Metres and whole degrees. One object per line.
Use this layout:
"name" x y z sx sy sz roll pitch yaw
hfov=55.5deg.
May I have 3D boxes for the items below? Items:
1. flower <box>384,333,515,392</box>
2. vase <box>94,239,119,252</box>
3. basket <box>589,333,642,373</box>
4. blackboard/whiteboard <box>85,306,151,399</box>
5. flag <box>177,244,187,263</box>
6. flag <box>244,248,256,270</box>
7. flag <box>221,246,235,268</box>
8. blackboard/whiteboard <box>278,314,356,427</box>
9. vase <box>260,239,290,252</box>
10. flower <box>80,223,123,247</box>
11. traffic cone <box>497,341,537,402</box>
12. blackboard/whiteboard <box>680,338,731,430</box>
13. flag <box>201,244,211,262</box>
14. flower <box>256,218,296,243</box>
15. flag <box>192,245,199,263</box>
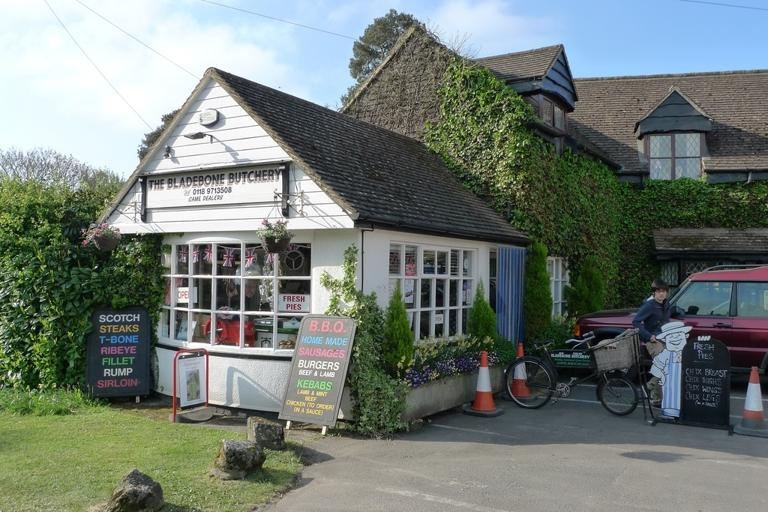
"flower" 1.512 2.187 15.815 2.783 0.778 0.925 -4 0 -16
"vase" -6.037 -0.257 15.807 0.330 0.266 0.338 -1 2 16
"basket" 4.769 1.995 15.090 0.885 0.856 0.764 0 -2 20
"blackboard/whiteboard" -5.805 2.081 15.907 1.284 1.946 0.116 1 -6 -15
"flag" -4.459 -0.059 16.085 0.357 0.404 0.020 8 15 41
"flag" -2.791 0.038 15.122 0.221 0.483 0.037 -3 -6 23
"flag" -3.263 0.034 15.359 0.296 0.383 0.013 -3 -7 26
"blackboard/whiteboard" -1.269 2.245 14.104 1.251 2.186 0.118 0 -21 29
"vase" -2.123 -0.208 14.270 0.326 0.155 0.335 -3 -7 6
"flower" -6.113 -0.374 15.963 0.589 0.422 0.604 1 -2 8
"traffic cone" 2.974 2.544 16.198 0.856 1.162 0.536 1 2 0
"blackboard/whiteboard" 6.308 2.500 14.357 0.906 1.751 0.303 -2 -6 15
"flag" -3.814 -0.065 15.661 0.305 0.238 0.053 19 11 37
"flower" -2.154 -0.526 14.472 0.674 0.503 0.643 1 -6 -8
"flag" -4.080 -0.041 15.822 0.156 0.373 0.040 -4 -7 31
